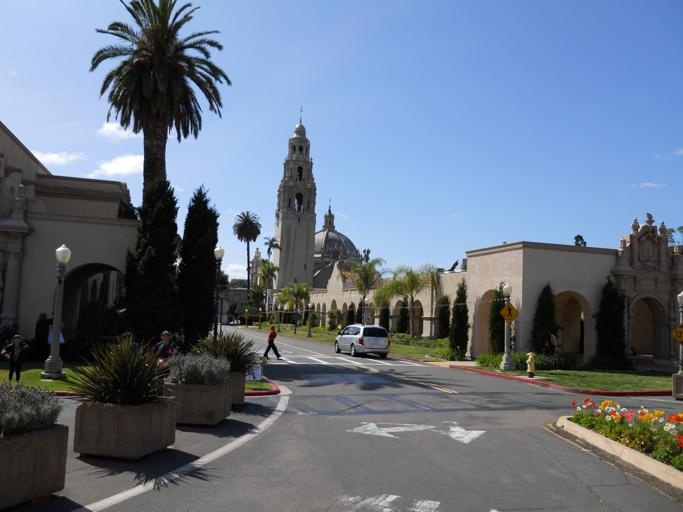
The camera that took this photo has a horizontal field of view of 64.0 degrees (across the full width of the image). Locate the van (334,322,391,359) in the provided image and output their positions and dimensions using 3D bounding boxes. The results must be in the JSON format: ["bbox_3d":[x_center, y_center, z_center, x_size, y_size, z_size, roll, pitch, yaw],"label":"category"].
[{"bbox_3d":[1.211,5.458,34.846,1.593,1.425,3.597,4,-5,-15],"label":"van"}]

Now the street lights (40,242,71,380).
[{"bbox_3d":[-9.555,1.987,18.506,0.855,4.636,0.785,4,-4,-19],"label":"street lights"}]
